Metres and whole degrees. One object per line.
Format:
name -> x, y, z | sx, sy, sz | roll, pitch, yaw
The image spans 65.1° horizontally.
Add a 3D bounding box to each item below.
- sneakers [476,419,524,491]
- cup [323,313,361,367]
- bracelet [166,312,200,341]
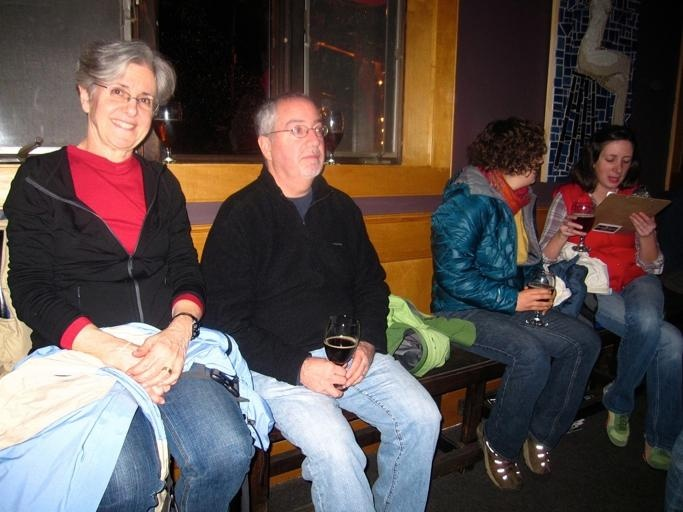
sneakers -> 0.759, 1.021, 2.647 | 0.141, 0.391, 0.152 | -15, -18, -21
cup -> 0.005, 0.347, 2.055 | 0.130, 0.216, 0.129 | -1, 14, 0
bracelet -> -0.610, 0.277, 2.072 | 0.105, 0.048, 0.095 | 50, 32, 18
